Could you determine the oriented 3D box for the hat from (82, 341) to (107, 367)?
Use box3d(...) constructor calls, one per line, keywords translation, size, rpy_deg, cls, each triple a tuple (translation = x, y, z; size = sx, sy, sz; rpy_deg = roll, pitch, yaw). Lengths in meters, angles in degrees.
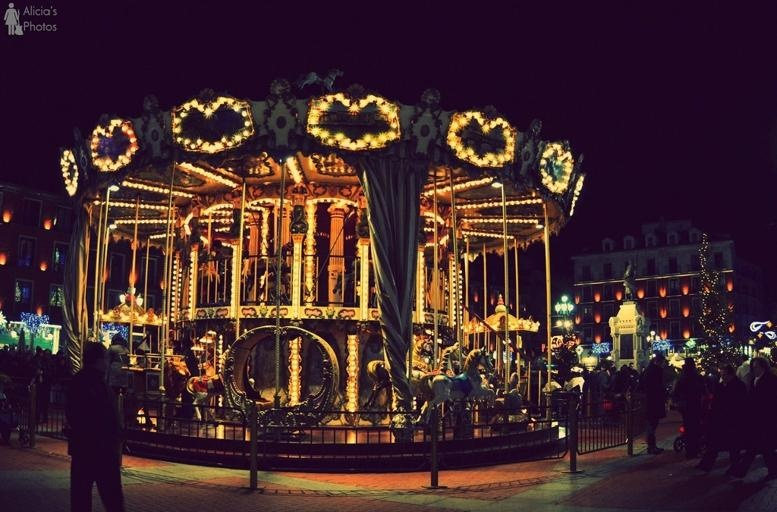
box3d(translation=(-5.721, 1.898, 17.214), size=(0.429, 0.592, 0.570), rpy_deg=(2, -10, -8), cls="hat")
